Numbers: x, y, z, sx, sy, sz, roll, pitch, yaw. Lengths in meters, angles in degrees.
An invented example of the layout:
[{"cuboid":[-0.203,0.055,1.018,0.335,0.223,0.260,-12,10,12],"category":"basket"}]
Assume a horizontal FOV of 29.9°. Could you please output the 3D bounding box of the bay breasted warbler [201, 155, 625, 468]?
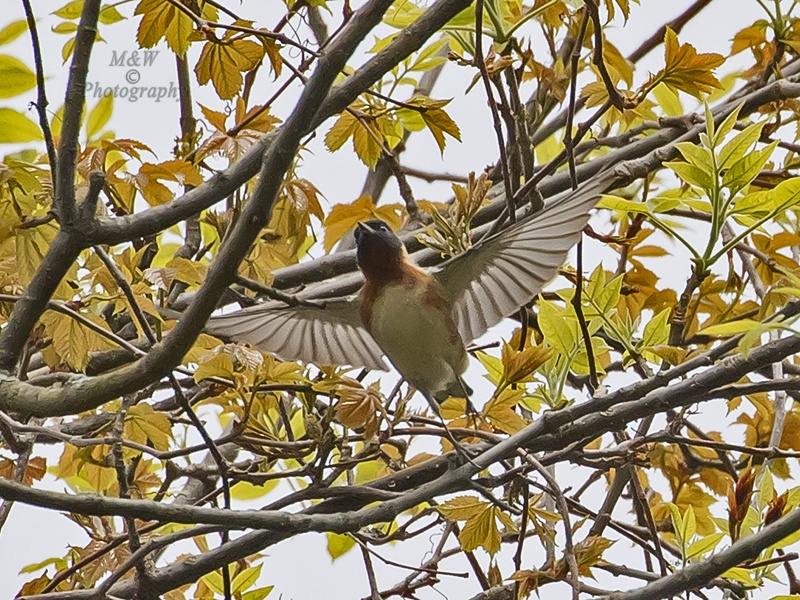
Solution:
[{"cuboid":[0.074,0.011,5.363,1.596,0.635,0.928,-23,-59,14],"category":"bay breasted warbler"}]
